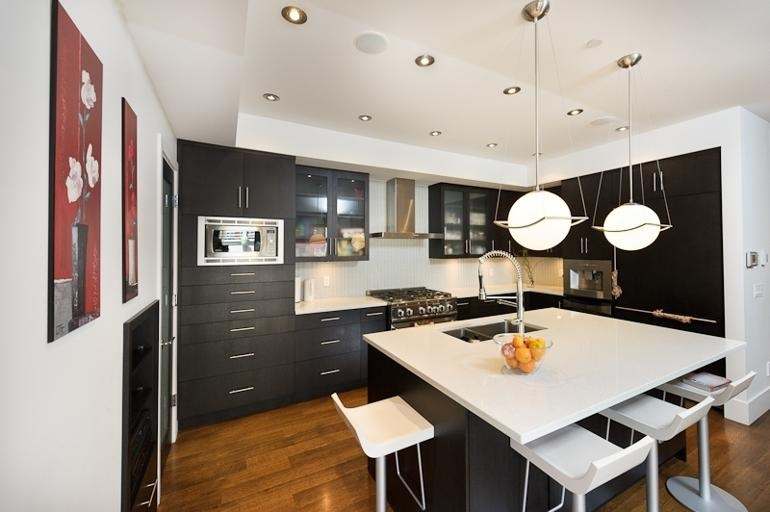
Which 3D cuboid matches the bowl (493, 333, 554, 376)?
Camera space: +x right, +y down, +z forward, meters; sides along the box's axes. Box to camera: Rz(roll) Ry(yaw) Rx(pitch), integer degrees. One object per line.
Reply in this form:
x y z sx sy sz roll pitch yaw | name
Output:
0.941 0.635 3.483 0.300 0.177 0.300 0 -1 0 | bowl

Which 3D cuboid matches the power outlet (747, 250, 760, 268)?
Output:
3.386 0.029 4.780 0.233 0.161 0.035 -10 16 -32 | power outlet

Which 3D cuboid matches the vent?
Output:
0.208 -0.512 6.114 0.758 0.662 0.687 -1 2 -20 | vent

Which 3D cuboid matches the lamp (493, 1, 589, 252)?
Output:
1.261 -1.017 4.234 0.578 1.730 2.221 2 14 15 | lamp

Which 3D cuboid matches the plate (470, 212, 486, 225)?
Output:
1.163 -0.476 6.598 0.171 0.160 0.039 1 2 -29 | plate

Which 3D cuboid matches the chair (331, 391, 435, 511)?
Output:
-0.019 1.299 3.497 0.558 0.824 0.488 -10 16 -31 | chair

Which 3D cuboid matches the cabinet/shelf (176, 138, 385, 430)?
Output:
-1.200 0.195 4.867 1.709 2.513 0.474 -8 15 -25 | cabinet/shelf

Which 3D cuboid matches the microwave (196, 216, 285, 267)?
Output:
-1.360 -0.142 4.793 0.738 0.479 0.404 1 -1 -29 | microwave

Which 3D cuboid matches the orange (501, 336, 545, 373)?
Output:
0.903 0.645 3.424 0.265 0.220 0.107 -4 14 -11 | orange
